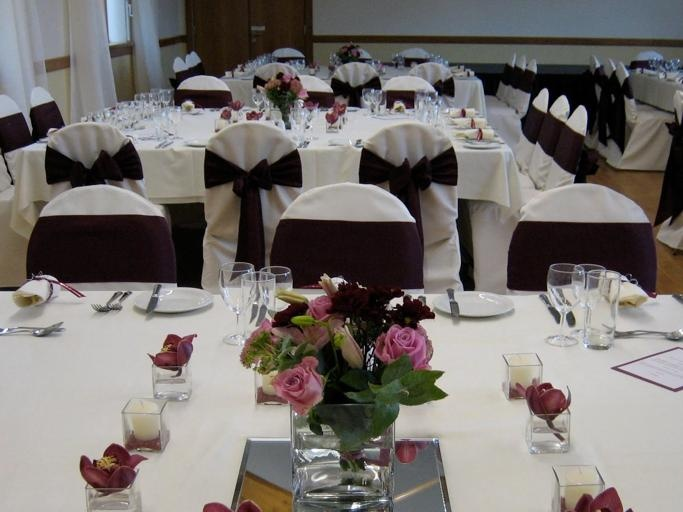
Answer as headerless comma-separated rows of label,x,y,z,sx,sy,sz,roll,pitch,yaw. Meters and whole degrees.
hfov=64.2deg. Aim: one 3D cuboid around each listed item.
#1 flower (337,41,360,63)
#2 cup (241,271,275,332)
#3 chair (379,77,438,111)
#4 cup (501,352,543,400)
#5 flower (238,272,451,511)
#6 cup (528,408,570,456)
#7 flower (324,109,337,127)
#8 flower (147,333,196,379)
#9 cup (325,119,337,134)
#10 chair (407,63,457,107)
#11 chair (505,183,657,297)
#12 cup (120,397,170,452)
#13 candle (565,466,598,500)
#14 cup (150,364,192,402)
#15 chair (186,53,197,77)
flower,0.093,-2.690,7.233,0.336,0.228,0.611,-1,22,2
cup,-0.201,0.103,1.320,0.077,0.165,0.080,0,19,0
chair,0.615,-1.638,5.386,0.514,0.307,0.539,18,33,35
cup,0.407,0.266,1.230,0.082,0.106,0.092,0,6,1
flower,0.016,0.185,0.999,0.334,0.477,0.335,0,7,-3
cup,0.408,0.349,1.071,0.069,0.089,0.079,0,12,4
flower,-0.071,-1.027,4.033,0.091,0.162,0.093,5,13,9
flower,-0.388,0.224,1.240,0.084,0.071,0.094,-13,-13,-18
cup,-0.076,-0.958,4.005,0.073,0.093,0.085,1,22,0
chair,1.097,-2.040,6.427,0.450,0.394,0.676,9,24,3
chair,0.962,-0.086,2.306,0.364,0.673,0.471,2,0,5
cup,-0.386,0.335,1.070,0.080,0.109,0.091,0,21,-6
candle,0.398,0.364,0.898,0.042,0.053,0.045,-1,9,5
cup,-0.383,0.283,1.228,0.066,0.086,0.076,0,11,-3
chair,-2.065,-2.690,7.612,0.214,0.277,0.747,-7,22,-13
